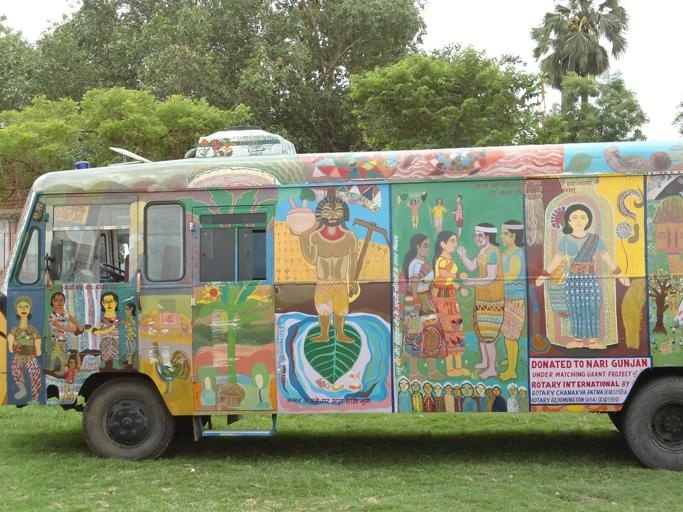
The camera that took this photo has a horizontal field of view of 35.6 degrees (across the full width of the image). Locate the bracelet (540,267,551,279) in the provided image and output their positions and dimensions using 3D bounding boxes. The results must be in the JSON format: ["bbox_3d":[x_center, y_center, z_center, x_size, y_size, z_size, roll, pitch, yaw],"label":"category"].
[{"bbox_3d":[3.134,0.285,16.402,0.126,0.166,0.040,8,7,6],"label":"bracelet"}]
